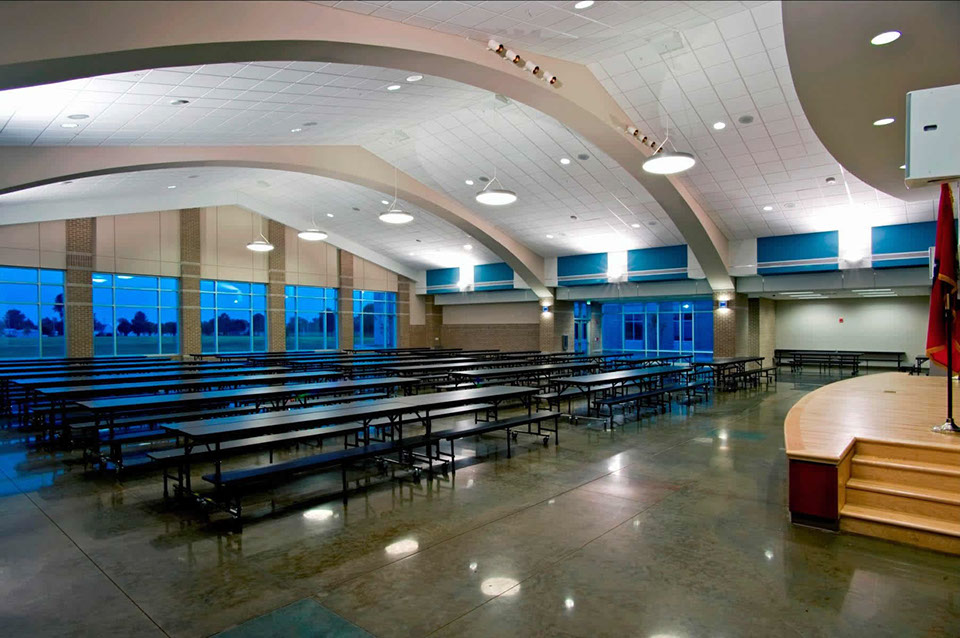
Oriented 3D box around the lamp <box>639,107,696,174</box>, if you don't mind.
[{"bbox_3d":[3.973,-3.735,12.017,1.138,1.004,0.991,-15,41,-20],"label":"lamp"}]
